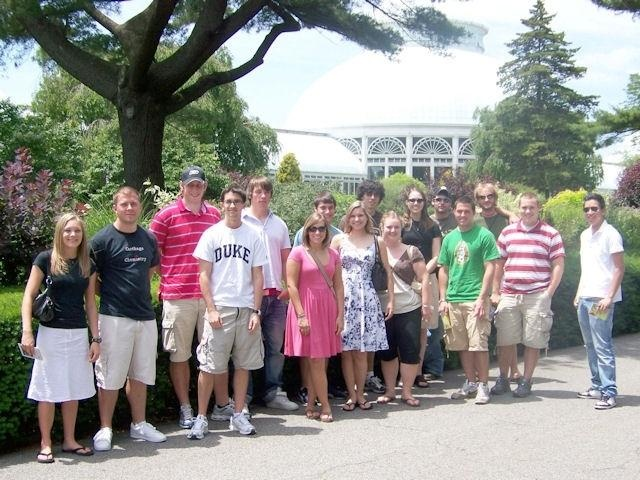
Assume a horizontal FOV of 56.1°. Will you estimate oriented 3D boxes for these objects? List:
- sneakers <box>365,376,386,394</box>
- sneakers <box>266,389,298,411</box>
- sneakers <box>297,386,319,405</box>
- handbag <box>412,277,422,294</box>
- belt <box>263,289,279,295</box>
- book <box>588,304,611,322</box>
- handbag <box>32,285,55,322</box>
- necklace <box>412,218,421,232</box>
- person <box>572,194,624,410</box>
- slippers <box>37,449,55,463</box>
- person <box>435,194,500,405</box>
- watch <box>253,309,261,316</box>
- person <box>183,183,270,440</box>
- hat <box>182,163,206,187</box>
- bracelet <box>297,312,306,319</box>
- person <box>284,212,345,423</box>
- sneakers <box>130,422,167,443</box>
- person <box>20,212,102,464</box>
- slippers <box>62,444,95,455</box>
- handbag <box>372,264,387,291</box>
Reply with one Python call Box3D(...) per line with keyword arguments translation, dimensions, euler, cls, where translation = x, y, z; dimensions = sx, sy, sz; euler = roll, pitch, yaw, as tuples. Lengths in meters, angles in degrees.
Box3D(translation=(0.743, 1.952, 8.075), dimensions=(0.116, 0.144, 0.314), euler=(2, -3, -29), cls="sneakers")
Box3D(translation=(-0.495, 1.937, 7.337), dimensions=(0.448, 0.199, 0.182), euler=(2, 2, 24), cls="sneakers")
Box3D(translation=(-0.162, 1.965, 7.508), dimensions=(0.123, 0.162, 0.371), euler=(3, -8, -25), cls="sneakers")
Box3D(translation=(1.246, 0.601, 7.752), dimensions=(0.126, 0.176, 0.057), euler=(-19, 16, -35), cls="handbag")
Box3D(translation=(-0.602, 0.613, 7.182), dimensions=(0.107, 0.054, 0.141), euler=(-1, -1, -32), cls="belt")
Box3D(translation=(3.420, 0.881, 7.357), dimensions=(0.210, 0.186, 0.116), euler=(-4, -5, 23), cls="book")
Box3D(translation=(-2.613, 0.600, 5.668), dimensions=(0.154, 0.341, 0.322), euler=(7, -6, -37), cls="handbag")
Box3D(translation=(1.359, -0.217, 8.639), dimensions=(0.155, 0.185, 0.111), euler=(4, -16, -2), cls="necklace")
Box3D(translation=(3.481, 0.703, 7.480), dimensions=(0.505, 2.622, 0.644), euler=(-1, -4, -6), cls="person")
Box3D(translation=(-2.573, 2.025, 5.631), dimensions=(0.143, 0.105, 0.191), euler=(0, -5, -28), cls="slippers")
Box3D(translation=(1.877, 0.729, 7.615), dimensions=(0.783, 2.573, 0.441), euler=(-4, -4, 23), cls="person")
Box3D(translation=(-0.680, 0.776, 6.477), dimensions=(0.081, 0.062, 0.078), euler=(2, -2, -11), cls="watch")
Box3D(translation=(-0.981, 0.742, 6.444), dimensions=(0.815, 2.623, 0.365), euler=(-1, -4, -6), cls="person")
Box3D(translation=(-1.444, -0.742, 6.819), dimensions=(0.179, 0.162, 0.262), euler=(0, -4, -12), cls="hat")
Box3D(translation=(-0.209, 0.855, 6.811), dimensions=(0.086, 0.051, 0.029), euler=(-2, -4, -2), cls="bracelet")
Box3D(translation=(-0.072, 0.878, 6.924), dimensions=(0.699, 2.336, 0.335), euler=(-2, -4, -1), cls="person")
Box3D(translation=(-1.772, 1.952, 6.192), dimensions=(0.414, 0.169, 0.160), euler=(3, 4, 14), cls="sneakers")
Box3D(translation=(-2.490, 0.909, 5.777), dimensions=(0.685, 2.333, 0.252), euler=(0, -4, -22), cls="person")
Box3D(translation=(-2.331, 2.013, 5.765), dimensions=(0.240, 0.059, 0.107), euler=(1, 2, 18), cls="slippers")
Box3D(translation=(0.736, 0.461, 7.493), dimensions=(0.147, 0.392, 0.293), euler=(-6, 4, -4), cls="handbag")
